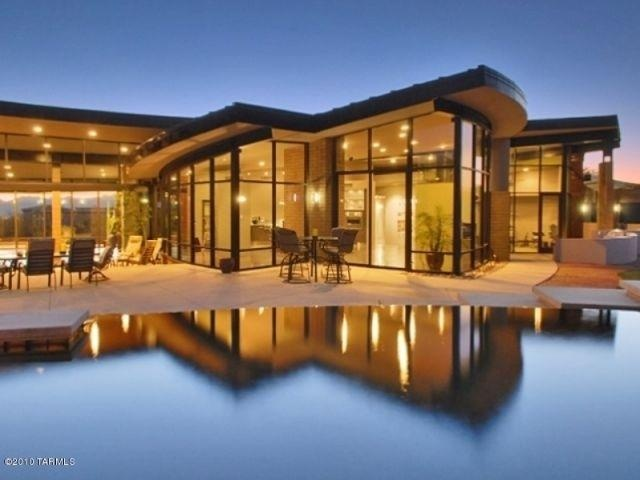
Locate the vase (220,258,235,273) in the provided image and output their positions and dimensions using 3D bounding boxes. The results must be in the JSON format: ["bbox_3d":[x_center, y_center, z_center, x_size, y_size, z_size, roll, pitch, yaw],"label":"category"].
[{"bbox_3d":[-2.468,0.672,13.787,0.346,0.347,0.356,4,1,27],"label":"vase"}]

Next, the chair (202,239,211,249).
[{"bbox_3d":[-3.376,0.126,15.291,0.222,0.239,0.276,3,-5,-39],"label":"chair"}]

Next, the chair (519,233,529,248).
[{"bbox_3d":[10.102,-0.009,25.366,0.567,0.726,0.621,2,3,19],"label":"chair"}]
